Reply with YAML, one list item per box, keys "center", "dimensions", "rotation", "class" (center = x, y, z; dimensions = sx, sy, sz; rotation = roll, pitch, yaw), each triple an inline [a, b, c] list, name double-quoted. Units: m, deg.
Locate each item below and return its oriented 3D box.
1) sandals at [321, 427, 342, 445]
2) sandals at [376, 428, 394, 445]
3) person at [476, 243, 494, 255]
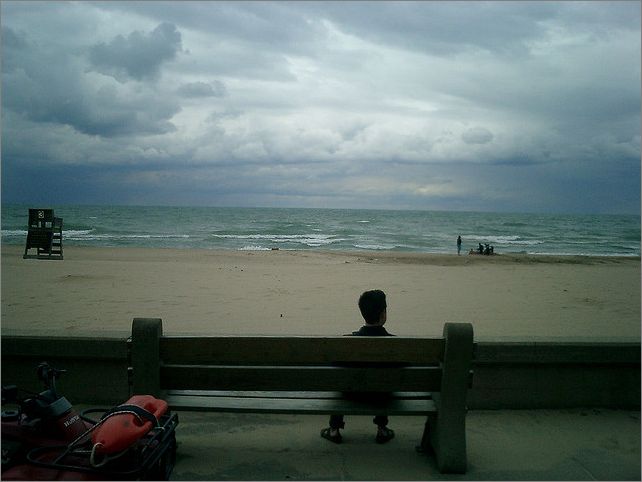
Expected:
- center: [0.106, 1.871, 5.601]
  dimensions: [0.249, 0.087, 0.098]
  rotation: [6, 3, 43]
  class: "sandals"
- center: [0.618, 1.864, 5.567]
  dimensions: [0.092, 0.083, 0.233]
  rotation: [2, 4, 24]
  class: "sandals"
- center: [9.721, 0.509, 34.124]
  dimensions: [0.930, 0.372, 1.106]
  rotation: [1, 6, 22]
  class: "person"
